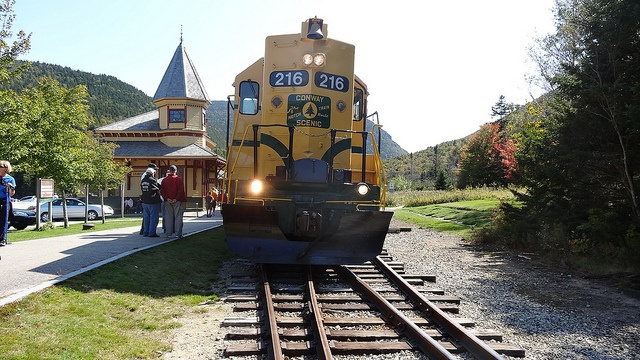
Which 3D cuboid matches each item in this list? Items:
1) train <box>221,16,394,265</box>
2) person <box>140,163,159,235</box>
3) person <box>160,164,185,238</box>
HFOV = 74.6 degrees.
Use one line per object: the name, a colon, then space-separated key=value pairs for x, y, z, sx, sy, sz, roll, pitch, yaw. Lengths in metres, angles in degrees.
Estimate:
train: x=-0.610 y=-1.348 z=14.132 sx=5.052 sy=8.470 sz=2.447 roll=1 pitch=-4 yaw=-9
person: x=-7.119 y=0.827 z=17.596 sx=0.725 sy=3.041 sz=0.931 roll=2 pitch=-4 yaw=-22
person: x=-6.060 y=0.898 z=17.281 sx=0.962 sy=2.949 sz=1.276 roll=2 pitch=-4 yaw=-20
